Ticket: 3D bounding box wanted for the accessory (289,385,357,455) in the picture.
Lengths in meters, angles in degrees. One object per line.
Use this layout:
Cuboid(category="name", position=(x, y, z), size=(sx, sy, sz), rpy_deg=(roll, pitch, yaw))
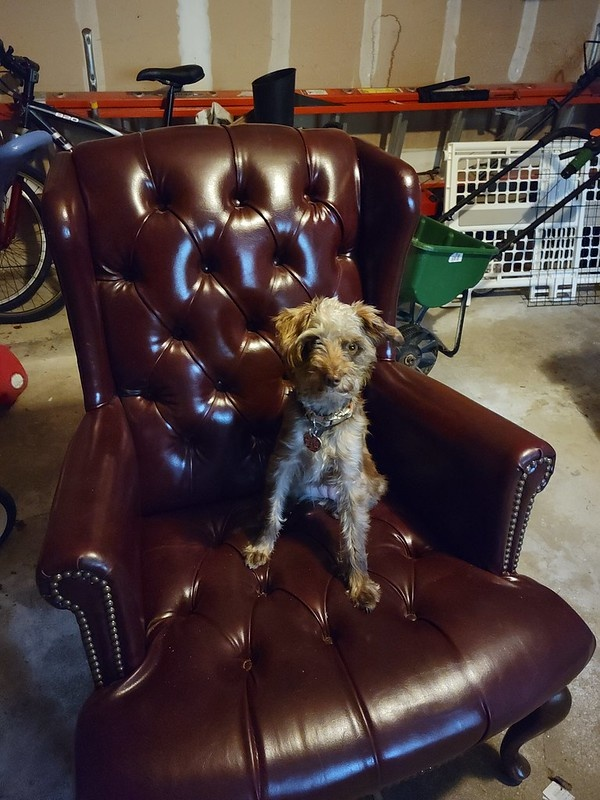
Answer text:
Cuboid(category="accessory", position=(0.044, 0.061, 1.464), size=(0.118, 0.080, 0.156), rpy_deg=(15, 44, -4))
